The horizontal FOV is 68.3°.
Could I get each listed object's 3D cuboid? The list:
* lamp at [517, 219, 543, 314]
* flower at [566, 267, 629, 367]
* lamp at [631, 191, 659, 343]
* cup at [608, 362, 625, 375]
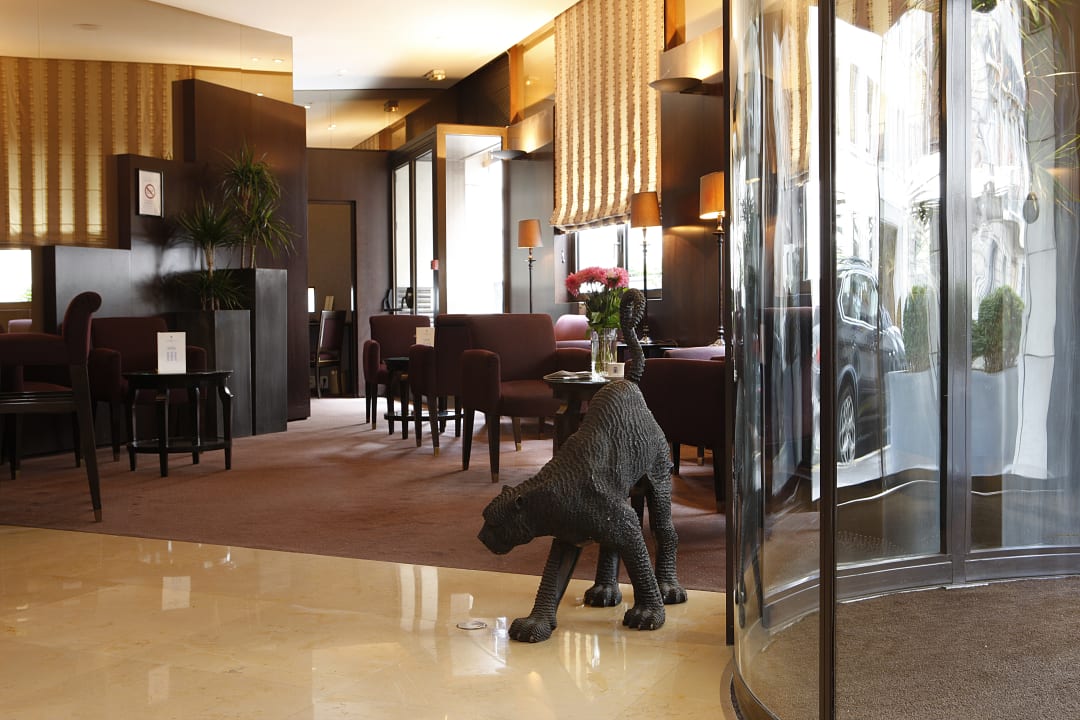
[{"bbox_3d":[-0.116,-1.140,9.288,0.243,1.113,0.777,-1,2,-1],"label":"lamp"},{"bbox_3d":[0.303,-0.230,4.416,0.376,0.588,0.323,-1,2,21],"label":"flower"},{"bbox_3d":[0.995,-0.903,7.564,0.376,1.302,0.386,-6,12,-18],"label":"lamp"},{"bbox_3d":[0.386,0.046,3.970,0.055,0.057,0.057,0,-3,0],"label":"cup"}]
